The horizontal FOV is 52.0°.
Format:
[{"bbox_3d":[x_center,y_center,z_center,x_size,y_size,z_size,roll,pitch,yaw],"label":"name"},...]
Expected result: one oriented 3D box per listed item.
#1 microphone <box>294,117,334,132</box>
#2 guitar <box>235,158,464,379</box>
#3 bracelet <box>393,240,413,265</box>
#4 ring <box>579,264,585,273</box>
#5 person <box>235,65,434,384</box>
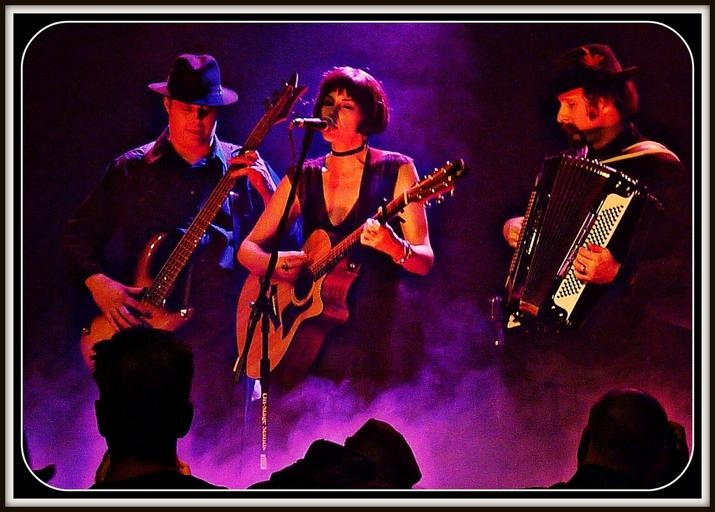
[{"bbox_3d":[-0.287,-0.867,4.799,0.248,0.095,0.273,13,14,-2],"label":"microphone"},{"bbox_3d":[-0.282,0.244,4.817,0.829,2.103,0.297,52,16,20],"label":"guitar"},{"bbox_3d":[0.300,-0.015,4.807,0.034,0.105,0.139,29,-34,-31],"label":"bracelet"},{"bbox_3d":[1.426,0.083,4.643,0.036,0.054,0.008,10,13,-13],"label":"ring"},{"bbox_3d":[-0.086,-0.125,5.122,1.252,2.086,0.616,16,1,15],"label":"person"}]
